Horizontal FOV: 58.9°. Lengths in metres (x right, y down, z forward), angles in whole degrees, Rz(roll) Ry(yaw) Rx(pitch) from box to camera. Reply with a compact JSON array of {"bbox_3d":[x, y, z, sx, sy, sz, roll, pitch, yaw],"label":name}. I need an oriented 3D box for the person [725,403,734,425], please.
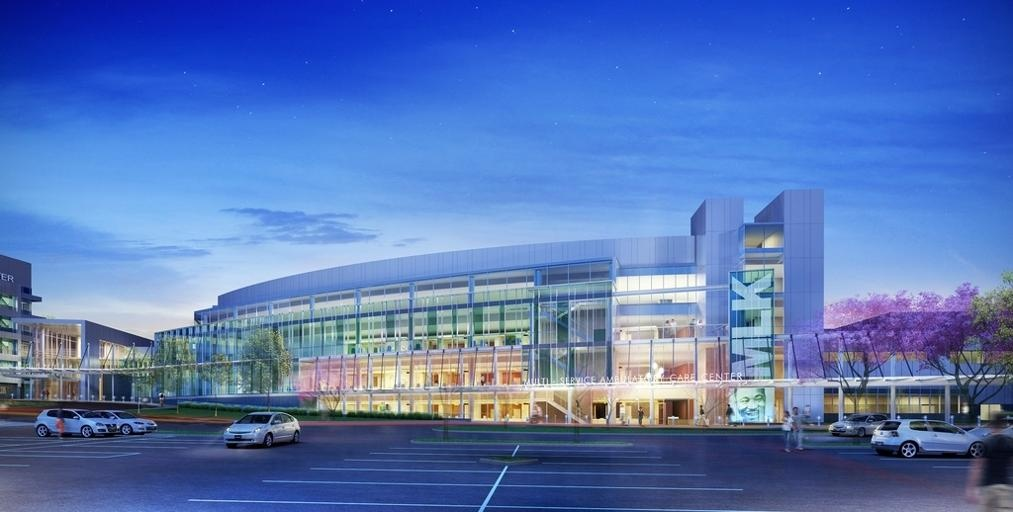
[{"bbox_3d":[29.602,20.979,119.445,1.128,2.616,0.475,-5,-13,12],"label":"person"}]
